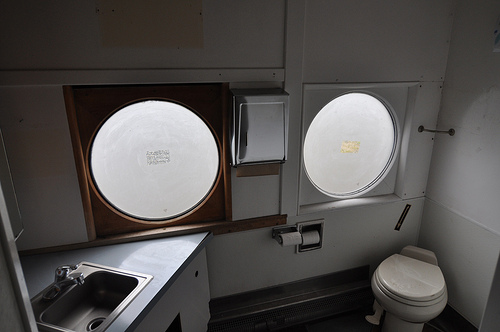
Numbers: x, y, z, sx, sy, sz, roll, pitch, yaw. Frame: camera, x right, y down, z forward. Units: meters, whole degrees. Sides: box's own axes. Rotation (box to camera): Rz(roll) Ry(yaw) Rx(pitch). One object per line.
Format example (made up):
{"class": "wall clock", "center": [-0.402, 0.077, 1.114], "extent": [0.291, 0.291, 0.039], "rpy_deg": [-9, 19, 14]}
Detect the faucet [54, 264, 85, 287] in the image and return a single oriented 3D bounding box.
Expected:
{"class": "faucet", "center": [-1.129, 0.693, 2.177], "extent": [0.148, 0.062, 0.151], "rpy_deg": [8, 24, 24]}

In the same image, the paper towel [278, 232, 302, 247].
{"class": "paper towel", "center": [0.312, 0.573, 2.707], "extent": [0.142, 0.094, 0.112], "rpy_deg": [-2, 27, -17]}

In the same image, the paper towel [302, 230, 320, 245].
{"class": "paper towel", "center": [0.482, 0.570, 2.809], "extent": [0.149, 0.107, 0.095], "rpy_deg": [-1, 3, -24]}
